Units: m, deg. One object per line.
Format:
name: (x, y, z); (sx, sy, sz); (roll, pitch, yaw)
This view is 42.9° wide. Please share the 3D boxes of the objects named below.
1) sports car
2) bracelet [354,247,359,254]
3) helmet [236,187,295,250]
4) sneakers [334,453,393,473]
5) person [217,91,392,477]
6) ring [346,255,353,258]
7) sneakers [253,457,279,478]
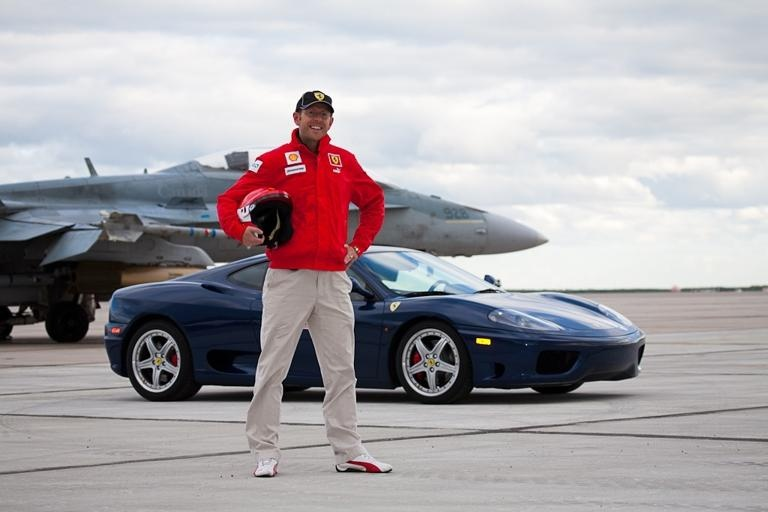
sports car: (-0.140, 0.800, 10.793); (5.200, 1.040, 2.255); (-1, -2, 15)
bracelet: (-0.204, -0.026, 7.376); (0.039, 0.042, 0.012); (-24, 14, 17)
helmet: (-0.846, -0.267, 7.088); (0.397, 0.442, 0.243); (2, -2, -12)
sneakers: (-0.143, 1.521, 7.081); (0.451, 0.124, 0.136); (-2, -2, 7)
person: (-0.577, 0.197, 7.258); (1.285, 2.799, 0.630); (2, -2, -8)
ring: (-0.250, 0.020, 7.307); (0.029, 0.011, 0.039); (-14, 17, -38)
sneakers: (-0.836, 1.525, 6.964); (0.139, 0.097, 0.316); (1, -7, -1)
